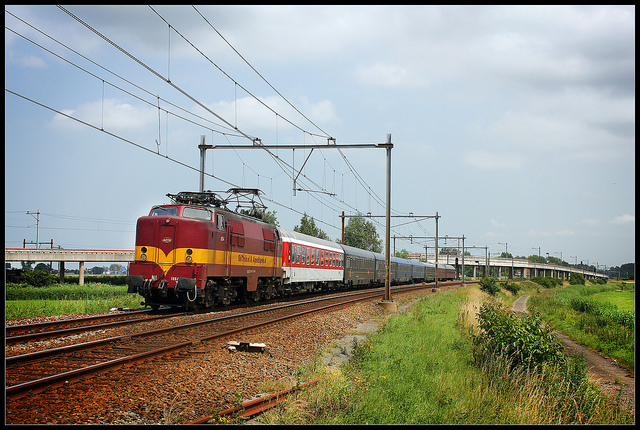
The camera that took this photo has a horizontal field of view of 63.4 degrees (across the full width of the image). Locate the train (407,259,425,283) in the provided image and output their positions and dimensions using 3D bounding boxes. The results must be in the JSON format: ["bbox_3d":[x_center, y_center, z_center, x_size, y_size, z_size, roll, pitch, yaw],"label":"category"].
[{"bbox_3d":[13.077,7.376,69.322,1.281,2.532,7.482,-3,-10,15],"label":"train"}]

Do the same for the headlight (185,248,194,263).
[{"bbox_3d":[-5.416,1.642,21.499,0.356,0.604,0.162,1,-7,-14],"label":"headlight"}]
